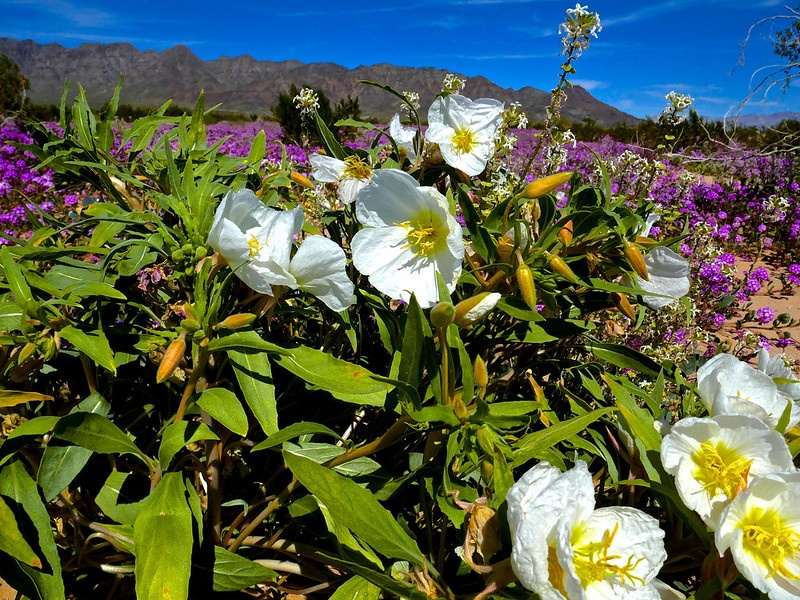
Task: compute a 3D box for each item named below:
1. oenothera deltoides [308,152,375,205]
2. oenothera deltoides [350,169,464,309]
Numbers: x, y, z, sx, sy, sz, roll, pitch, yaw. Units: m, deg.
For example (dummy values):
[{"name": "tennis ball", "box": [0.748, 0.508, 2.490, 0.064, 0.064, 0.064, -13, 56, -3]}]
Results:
[{"name": "oenothera deltoides", "box": [-0.196, -0.446, 1.929, 0.201, 0.212, 0.086, 46, 13, -10]}, {"name": "oenothera deltoides", "box": [0.018, -0.172, 1.546, 0.321, 0.324, 0.194, 10, 33, 3]}]
